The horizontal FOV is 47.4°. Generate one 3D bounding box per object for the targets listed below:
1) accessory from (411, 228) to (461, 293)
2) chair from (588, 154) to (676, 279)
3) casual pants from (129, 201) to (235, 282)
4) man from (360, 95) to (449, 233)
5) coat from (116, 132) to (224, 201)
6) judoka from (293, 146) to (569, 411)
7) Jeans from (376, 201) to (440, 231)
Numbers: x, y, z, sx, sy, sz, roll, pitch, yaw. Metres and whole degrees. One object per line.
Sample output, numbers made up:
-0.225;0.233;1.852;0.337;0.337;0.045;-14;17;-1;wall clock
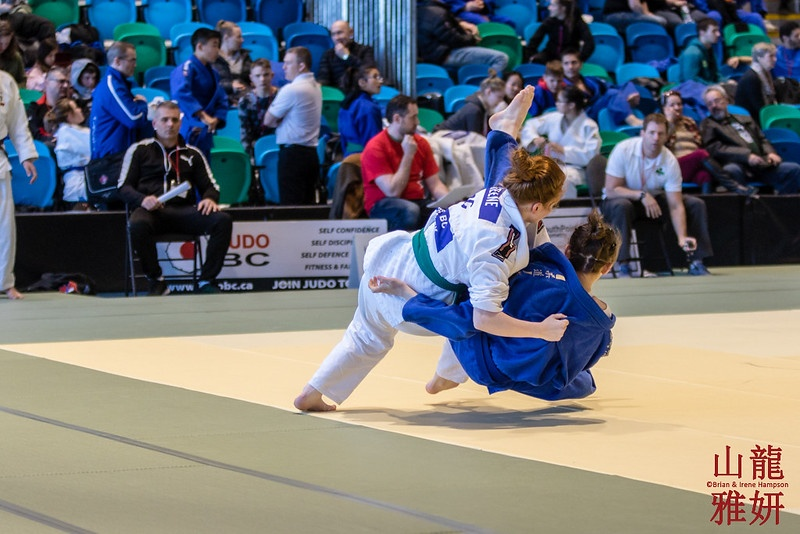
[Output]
0.177;-0.045;4.559;0.069;0.282;0.259;-33;-52;24;accessory
2.335;-0.512;9.050;0.861;1.415;1.014;-8;9;-13;chair
-1.859;-0.247;8.214;0.759;0.939;0.714;1;-43;-9;casual pants
0.111;-0.818;8.442;0.854;1.485;0.853;-12;18;-37;man
-2.085;-0.856;8.117;0.826;0.643;0.598;-2;12;-29;coat
0.117;0.184;4.687;1.301;1.388;0.824;4;11;-7;judoka
0.021;-0.481;8.283;0.401;0.142;0.401;-7;2;-8;Jeans
